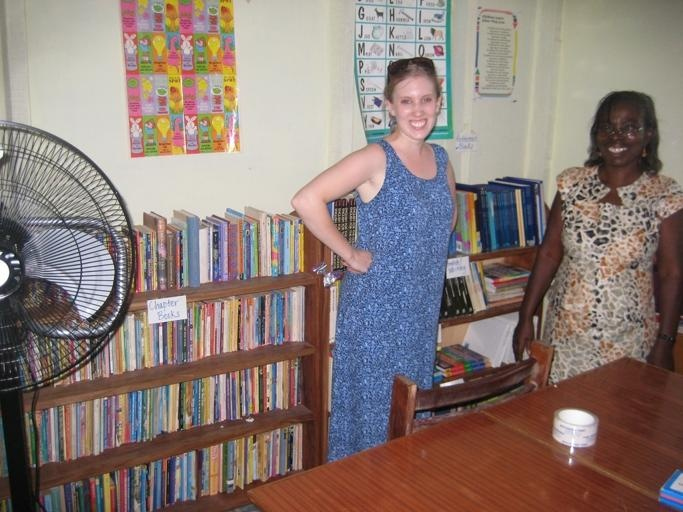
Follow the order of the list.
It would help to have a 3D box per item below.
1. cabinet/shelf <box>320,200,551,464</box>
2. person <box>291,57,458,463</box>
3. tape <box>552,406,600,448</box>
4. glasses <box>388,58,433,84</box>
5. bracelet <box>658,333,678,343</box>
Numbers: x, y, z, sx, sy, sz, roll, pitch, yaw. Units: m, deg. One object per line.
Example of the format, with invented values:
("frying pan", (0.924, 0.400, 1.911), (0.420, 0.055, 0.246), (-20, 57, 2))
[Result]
("cabinet/shelf", (0.264, 0.272, 2.211), (0.486, 1.128, 0.404), (-2, 6, -26))
("person", (0.183, 0.102, 2.365), (0.628, 1.708, 0.384), (-25, 39, -34))
("tape", (0.669, 0.481, 1.670), (0.123, 0.093, 0.128), (-1, 4, -37))
("glasses", (0.263, -0.696, 2.150), (0.174, 0.101, 0.112), (-6, 13, -15))
("bracelet", (1.329, 0.336, 2.324), (0.041, 0.044, 0.041), (3, -16, -26))
